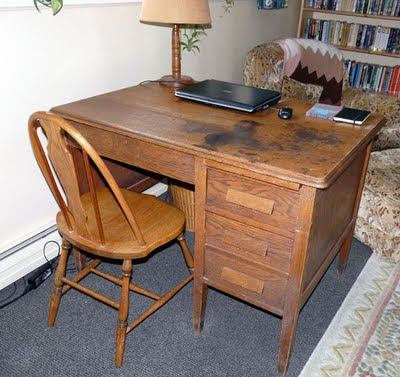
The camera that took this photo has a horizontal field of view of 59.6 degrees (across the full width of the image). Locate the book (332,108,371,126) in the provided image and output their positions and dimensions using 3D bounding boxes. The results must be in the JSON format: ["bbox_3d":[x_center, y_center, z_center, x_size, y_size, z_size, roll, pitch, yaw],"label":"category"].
[{"bbox_3d":[0.552,-0.268,1.263,0.098,0.025,0.098,17,39,28],"label":"book"}]

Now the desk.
[{"bbox_3d":[0.119,0.313,1.844,1.569,1.127,0.945,19,33,33],"label":"desk"}]
